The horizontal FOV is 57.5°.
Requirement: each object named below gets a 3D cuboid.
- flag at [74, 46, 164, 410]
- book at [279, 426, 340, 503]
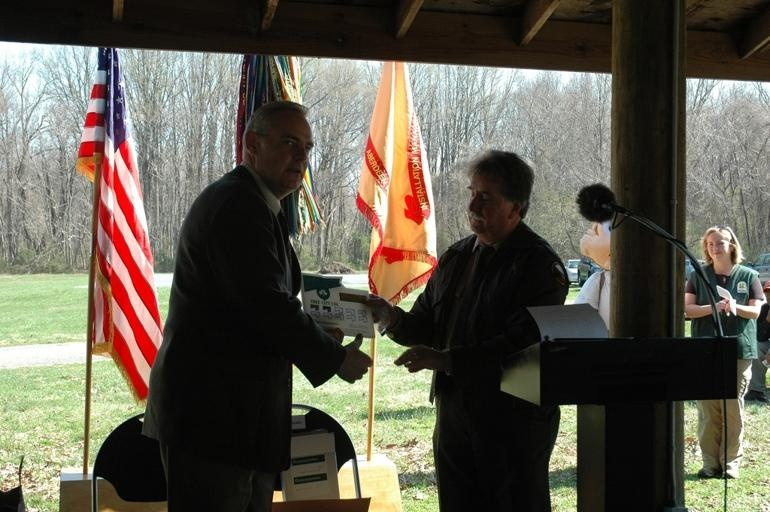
[{"bbox_3d":[-2.412,-0.207,6.392,0.525,3.367,1.041,-4,15,-20],"label":"flag"},{"bbox_3d":[-0.623,1.617,5.705,0.534,0.557,0.529,1,5,-14],"label":"book"}]
